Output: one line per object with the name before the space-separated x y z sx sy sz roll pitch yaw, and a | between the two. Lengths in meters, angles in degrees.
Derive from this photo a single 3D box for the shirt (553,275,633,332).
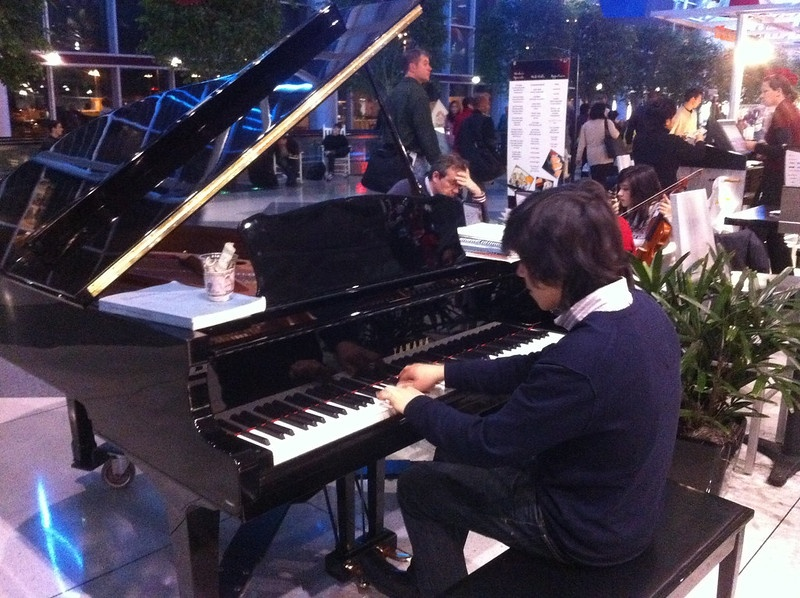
shirt | 0.511 0.023 1.671 0.169 0.094 0.133 -31 3 43

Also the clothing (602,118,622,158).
clothing | 2.982 -2.222 8.462 0.348 0.525 0.177 -3 18 -18

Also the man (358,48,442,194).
man | 0.009 -1.160 4.603 0.605 1.329 0.504 18 37 25

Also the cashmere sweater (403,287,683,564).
cashmere sweater | 0.440 0.337 1.691 0.729 0.789 0.278 1 17 -5

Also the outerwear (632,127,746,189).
outerwear | 3.070 -1.480 6.454 1.129 0.656 0.771 -14 22 -40

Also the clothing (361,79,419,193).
clothing | -0.044 -0.771 3.113 0.219 0.588 0.440 6 18 -20

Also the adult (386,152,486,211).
adult | 0.172 -0.745 3.607 0.686 0.252 0.486 5 -2 -1

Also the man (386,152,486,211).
man | 0.164 -0.698 3.579 0.623 0.235 0.452 -5 -2 14

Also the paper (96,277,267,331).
paper | -0.701 0.014 1.971 0.475 0.064 0.293 11 19 27

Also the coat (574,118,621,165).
coat | 2.774 -2.235 8.637 0.590 0.581 0.366 6 12 35

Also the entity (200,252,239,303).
entity | -0.588 -0.063 1.972 0.131 0.145 0.129 -2 7 -9
